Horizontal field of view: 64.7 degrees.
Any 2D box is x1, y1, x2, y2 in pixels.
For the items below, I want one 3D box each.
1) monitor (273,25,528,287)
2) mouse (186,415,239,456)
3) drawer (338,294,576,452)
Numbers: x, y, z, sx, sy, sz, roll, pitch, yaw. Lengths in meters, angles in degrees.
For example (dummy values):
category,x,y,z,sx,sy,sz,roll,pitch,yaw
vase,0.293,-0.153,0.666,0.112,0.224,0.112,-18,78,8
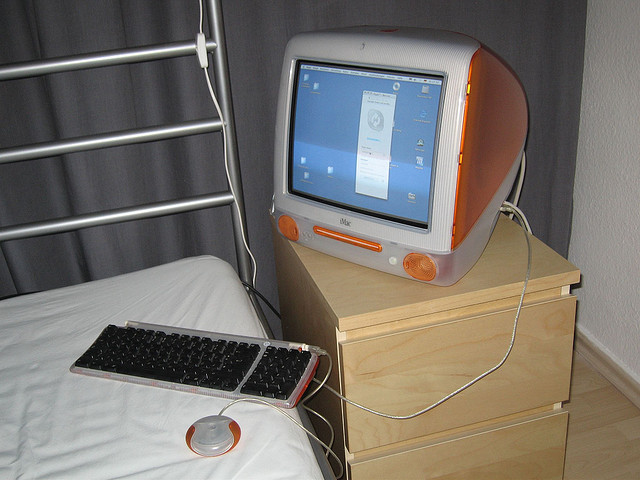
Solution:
category,x,y,z,sx,sy,sz,roll,pitch,yaw
monitor,0.208,-0.258,1.280,0.507,0.510,0.540,-26,34,-37
mouse,-0.191,0.349,0.900,0.091,0.030,0.069,-6,23,-12
drawer,0.295,0.293,1.124,0.308,0.479,0.331,-8,19,-15
